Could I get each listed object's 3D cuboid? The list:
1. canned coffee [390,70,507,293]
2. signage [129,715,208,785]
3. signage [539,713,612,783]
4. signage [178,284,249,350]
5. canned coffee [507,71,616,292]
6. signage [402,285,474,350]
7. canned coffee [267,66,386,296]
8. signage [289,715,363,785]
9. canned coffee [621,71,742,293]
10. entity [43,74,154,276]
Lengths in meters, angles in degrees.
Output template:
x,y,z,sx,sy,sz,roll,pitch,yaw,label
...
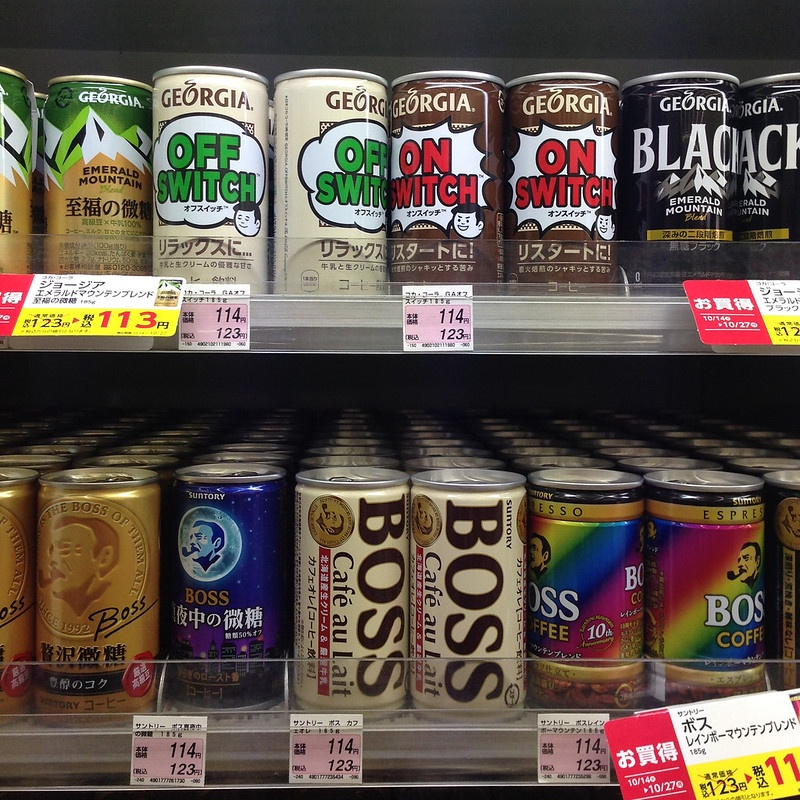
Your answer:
x,y,z,sx,sy,sz,roll,pitch,yaw,label
0.063,-0.310,1.272,0.172,0.289,0.164,-2,12,7,canned coffee
-0.277,0.420,1.082,0.082,0.077,0.009,1,-21,-3,signage
0.211,0.424,1.097,0.076,0.072,0.009,0,-16,1,signage
-0.237,-0.101,1.158,0.078,0.086,0.009,3,-8,0,signage
0.226,-0.311,1.282,0.158,0.289,0.143,-1,12,12,canned coffee
0.048,-0.102,1.169,0.080,0.077,0.009,0,-22,-2,signage
-0.095,-0.298,1.242,0.169,0.300,0.182,-3,12,-1,canned coffee
-0.091,0.422,1.088,0.076,0.070,0.026,1,-11,-3,signage
0.400,-0.318,1.297,0.187,0.285,0.167,-2,12,8,canned coffee
-0.415,-0.311,1.261,0.162,0.274,0.181,-6,12,-14,entity
